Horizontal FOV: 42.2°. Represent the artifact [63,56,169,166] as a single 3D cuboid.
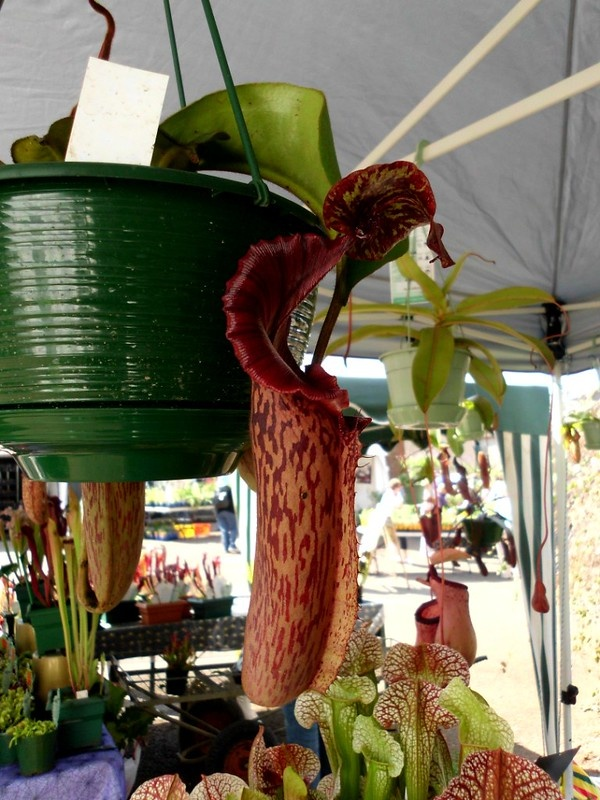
[{"bbox_3d":[-0.143,-0.222,0.598,0.076,0.113,0.061,1,-9,-10],"label":"artifact"}]
